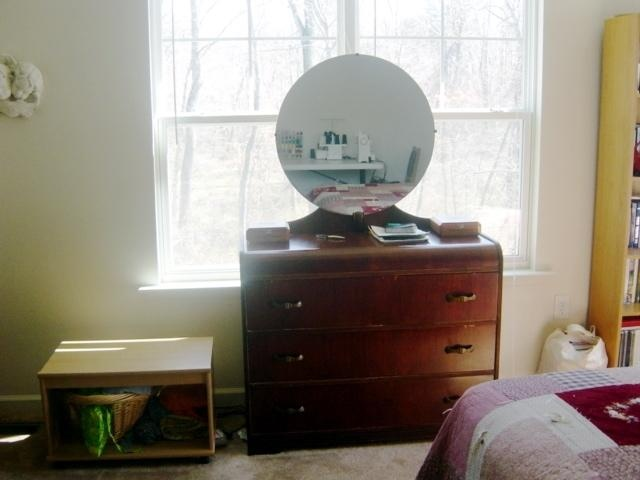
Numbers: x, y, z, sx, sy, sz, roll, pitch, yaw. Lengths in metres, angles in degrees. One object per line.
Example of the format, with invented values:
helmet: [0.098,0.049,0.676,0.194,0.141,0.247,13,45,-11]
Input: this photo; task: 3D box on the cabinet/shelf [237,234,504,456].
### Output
cabinet/shelf: [0.237,0.485,2.794,0.952,0.799,0.408,-2,9,-5]

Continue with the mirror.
mirror: [0.185,-0.591,3.092,0.751,0.804,0.056,9,6,-6]

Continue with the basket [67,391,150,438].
basket: [-1.008,0.801,2.829,0.252,0.146,0.288,0,-5,41]

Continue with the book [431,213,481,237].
book: [0.704,-0.073,3.015,0.221,0.093,0.175,-1,9,-4]
